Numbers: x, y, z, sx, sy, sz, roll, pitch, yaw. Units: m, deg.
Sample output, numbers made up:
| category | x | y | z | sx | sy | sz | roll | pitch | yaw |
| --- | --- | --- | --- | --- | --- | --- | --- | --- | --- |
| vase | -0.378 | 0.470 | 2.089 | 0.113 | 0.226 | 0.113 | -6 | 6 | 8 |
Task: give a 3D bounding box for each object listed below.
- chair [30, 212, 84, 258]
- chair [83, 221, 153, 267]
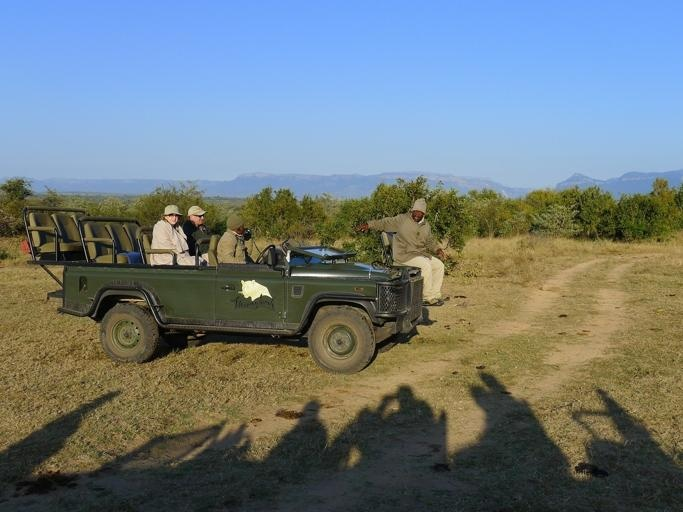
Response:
| category | x | y | z | sx | sy | sz | roll | pitch | yaw |
| --- | --- | --- | --- | --- | --- | --- | --- | --- | --- |
| chair | -5.336 | -0.354 | 9.958 | 0.412 | 0.565 | 0.848 | 2 | 3 | 18 |
| chair | -4.565 | -0.287 | 10.778 | 0.893 | 1.154 | 1.774 | 0 | 3 | 16 |
